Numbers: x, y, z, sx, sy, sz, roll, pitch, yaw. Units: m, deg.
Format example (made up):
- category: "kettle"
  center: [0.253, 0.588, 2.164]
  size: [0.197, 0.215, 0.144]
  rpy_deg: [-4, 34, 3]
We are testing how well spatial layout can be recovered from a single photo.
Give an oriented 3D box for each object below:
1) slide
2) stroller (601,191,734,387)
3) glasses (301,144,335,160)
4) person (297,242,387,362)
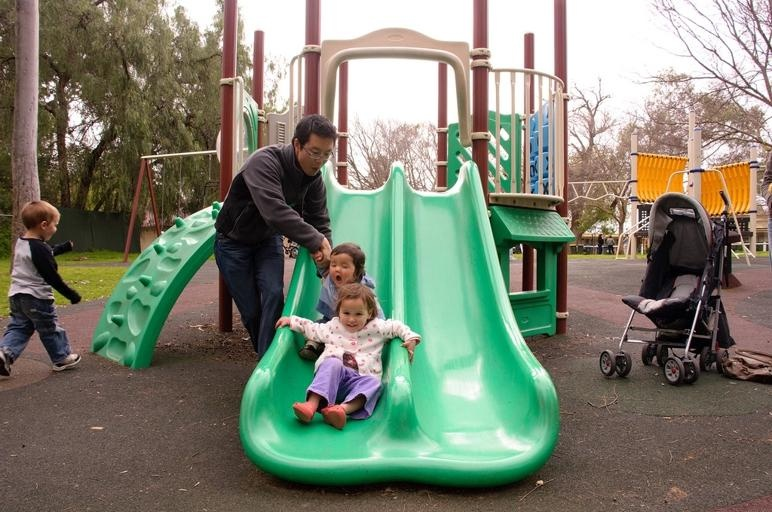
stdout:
- category: "slide"
  center: [0.154, 0.397, 6.553]
  size: [2.522, 1.027, 4.509]
  rpy_deg: [1, 29, 0]
- category: "stroller"
  center: [3.332, 0.307, 6.956]
  size: [1.048, 2.036, 1.321]
  rpy_deg: [5, 8, 35]
- category: "glasses"
  center: [-0.636, -0.961, 5.817]
  size: [0.292, 0.144, 0.152]
  rpy_deg: [-1, 6, -13]
- category: "person"
  center: [-0.417, 0.385, 6.000]
  size: [0.962, 1.167, 0.990]
  rpy_deg: [6, 6, 22]
